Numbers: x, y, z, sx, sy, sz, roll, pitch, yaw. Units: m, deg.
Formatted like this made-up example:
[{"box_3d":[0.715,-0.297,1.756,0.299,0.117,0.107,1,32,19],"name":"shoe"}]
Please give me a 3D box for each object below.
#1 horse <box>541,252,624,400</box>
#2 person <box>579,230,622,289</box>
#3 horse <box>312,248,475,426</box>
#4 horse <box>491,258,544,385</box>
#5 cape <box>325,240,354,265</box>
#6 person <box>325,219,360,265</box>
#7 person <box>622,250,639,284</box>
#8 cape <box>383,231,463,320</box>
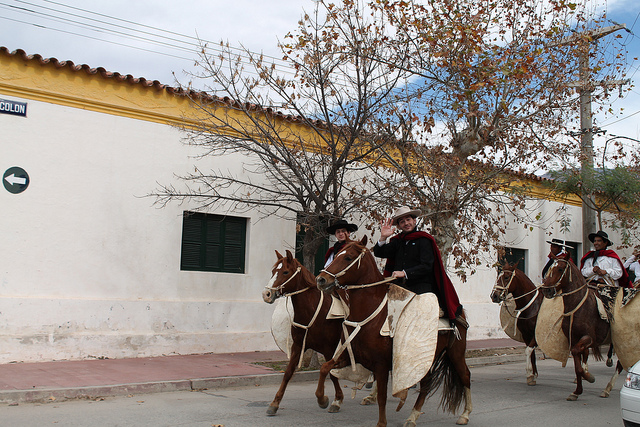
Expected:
[{"box_3d":[6.207,2.714,16.437,1.845,3.486,0.634,5,-8,-32],"name":"horse"},{"box_3d":[7.891,1.311,19.258,0.694,1.290,0.991,21,-25,-18],"name":"person"},{"box_3d":[1.572,2.594,14.183,2.724,3.577,3.496,-3,-8,27],"name":"horse"},{"box_3d":[5.285,2.907,18.014,1.422,3.207,0.942,1,-7,-1],"name":"horse"},{"box_3d":[0.333,0.855,16.234,0.434,0.595,0.312,10,15,15],"name":"cape"},{"box_3d":[0.477,0.504,15.447,1.001,1.092,0.733,-3,-20,6],"name":"person"},{"box_3d":[8.369,1.477,18.258,0.388,0.833,0.871,-2,-8,23],"name":"person"},{"box_3d":[1.994,1.052,14.340,1.602,1.523,0.708,10,21,39],"name":"cape"}]
